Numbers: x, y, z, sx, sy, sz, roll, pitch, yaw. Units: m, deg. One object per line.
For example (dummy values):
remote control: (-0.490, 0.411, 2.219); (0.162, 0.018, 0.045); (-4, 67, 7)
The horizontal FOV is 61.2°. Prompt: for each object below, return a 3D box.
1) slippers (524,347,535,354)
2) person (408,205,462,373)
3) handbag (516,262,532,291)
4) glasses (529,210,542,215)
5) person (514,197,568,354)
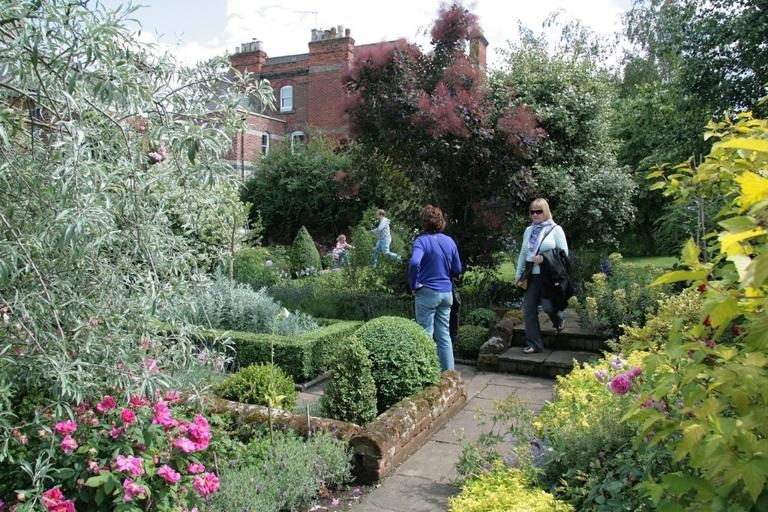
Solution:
slippers: (1.843, 1.202, 8.249); (0.058, 0.069, 0.156); (-3, 1, -29)
person: (0.566, 0.353, 7.253); (0.530, 1.857, 0.648); (0, 1, 8)
handbag: (1.746, 0.246, 8.066); (0.111, 0.298, 0.222); (20, -6, -8)
glasses: (1.872, -0.548, 8.072); (0.097, 0.067, 0.197); (-1, 1, -25)
person: (1.997, 0.252, 8.231); (0.605, 1.959, 0.663); (0, 1, 15)
